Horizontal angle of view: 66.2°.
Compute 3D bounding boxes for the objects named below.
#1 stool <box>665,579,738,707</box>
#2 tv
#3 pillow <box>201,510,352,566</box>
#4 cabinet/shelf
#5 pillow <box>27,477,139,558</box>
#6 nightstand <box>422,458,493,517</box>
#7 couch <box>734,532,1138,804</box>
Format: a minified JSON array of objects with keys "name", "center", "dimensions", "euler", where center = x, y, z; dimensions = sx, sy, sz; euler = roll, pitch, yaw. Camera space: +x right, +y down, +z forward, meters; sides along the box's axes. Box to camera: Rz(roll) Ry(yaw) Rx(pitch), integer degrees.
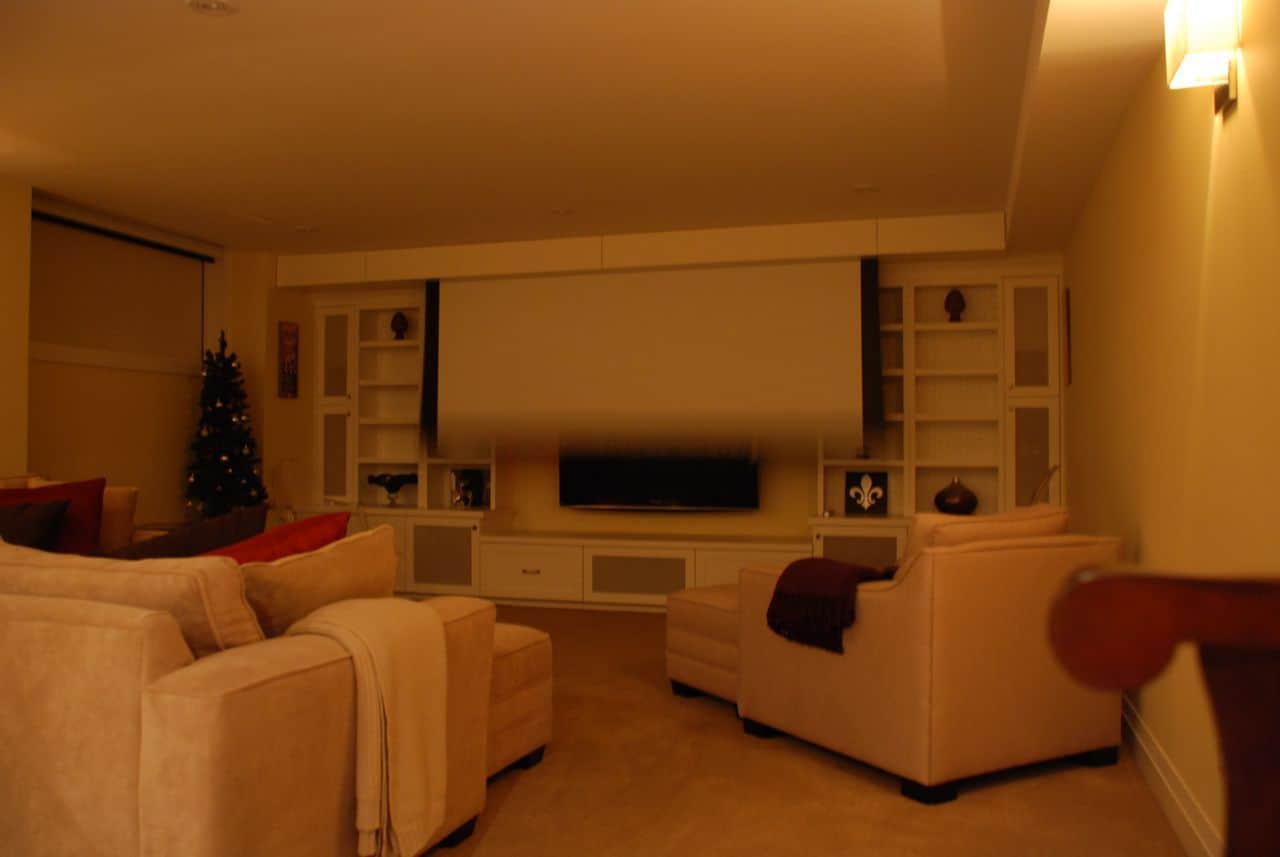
[{"name":"stool","center":[0.315,1.080,4.991],"dimensions":[0.516,0.469,0.520],"euler":[-1,-1,28]},{"name":"tv","center":[0.149,0.429,7.630],"dimensions":[1.608,0.616,0.149],"euler":[0,25,1]},{"name":"pillow","center":[-1.371,0.412,3.711],"dimensions":[0.357,0.111,0.334],"euler":[-17,13,-36]},{"name":"cabinet/shelf","center":[0.069,1.017,7.492],"dimensions":[3.712,0.856,0.561],"euler":[1,4,13]},{"name":"pillow","center":[-2.874,0.465,5.076],"dimensions":[0.306,0.281,0.187],"euler":[1,-22,11]},{"name":"nightstand","center":[-1.461,0.450,8.034],"dimensions":[0.641,0.506,0.370],"euler":[2,2,21]},{"name":"couch","center":[1.337,0.999,4.675],"dimensions":[1.620,0.993,1.724],"euler":[1,-2,18]}]
